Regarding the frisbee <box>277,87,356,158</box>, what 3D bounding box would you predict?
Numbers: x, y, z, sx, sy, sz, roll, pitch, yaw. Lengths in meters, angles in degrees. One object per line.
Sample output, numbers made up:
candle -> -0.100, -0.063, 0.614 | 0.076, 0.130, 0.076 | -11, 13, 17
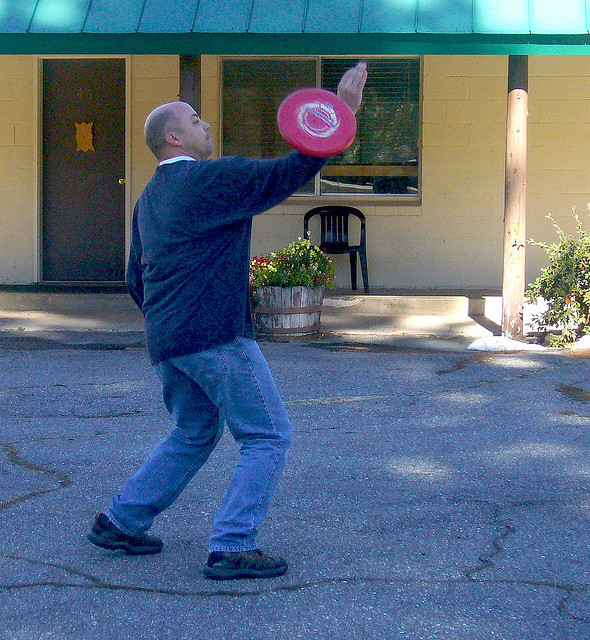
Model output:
frisbee -> 0.075, -0.653, 3.125 | 0.264, 0.237, 0.165 | 0, 8, 1

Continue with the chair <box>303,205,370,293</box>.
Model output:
chair -> 0.521, -0.870, 11.596 | 0.869, 0.930, 0.742 | -3, 5, 0

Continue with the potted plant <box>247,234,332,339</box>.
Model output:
potted plant -> -0.047, -0.238, 9.219 | 0.702, 0.780, 0.780 | 3, 10, 32

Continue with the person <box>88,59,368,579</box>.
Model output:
person -> -0.380, 0.018, 3.717 | 0.895, 1.752, 1.255 | -2, 9, -11
